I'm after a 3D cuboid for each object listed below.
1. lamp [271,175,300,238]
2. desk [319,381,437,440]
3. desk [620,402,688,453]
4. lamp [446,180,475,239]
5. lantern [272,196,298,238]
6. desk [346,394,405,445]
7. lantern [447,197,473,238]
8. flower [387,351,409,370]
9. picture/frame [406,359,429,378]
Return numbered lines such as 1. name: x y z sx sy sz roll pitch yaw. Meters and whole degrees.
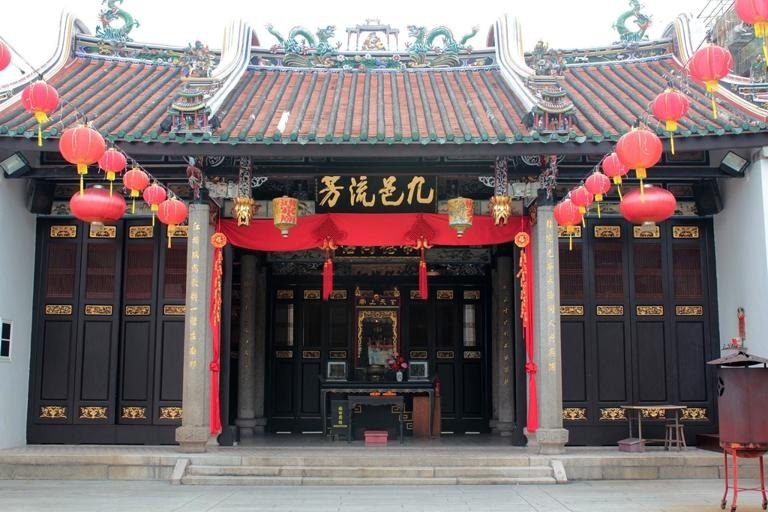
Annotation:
1. lamp: -1.681 -0.813 15.156 0.644 0.886 0.595 7 -16 -21
2. desk: 0.131 2.969 16.656 2.610 1.089 0.873 -8 -18 34
3. desk: 4.571 3.064 15.438 1.043 0.755 1.202 7 -14 -22
4. lamp: 1.317 -0.759 15.142 0.610 0.814 0.556 0 -8 -11
5. lantern: -1.704 -0.676 15.130 0.544 0.635 0.475 -1 -9 -3
6. desk: -0.132 3.104 16.784 1.149 0.707 0.577 -1 -15 7
7. lantern: 1.284 -0.672 15.140 0.568 0.652 0.468 2 -5 -8
8. flower: 0.257 2.131 17.977 0.389 0.334 0.374 -11 7 -35
9. picture/frame: 0.619 2.356 18.196 0.650 0.512 0.326 0 -12 0
